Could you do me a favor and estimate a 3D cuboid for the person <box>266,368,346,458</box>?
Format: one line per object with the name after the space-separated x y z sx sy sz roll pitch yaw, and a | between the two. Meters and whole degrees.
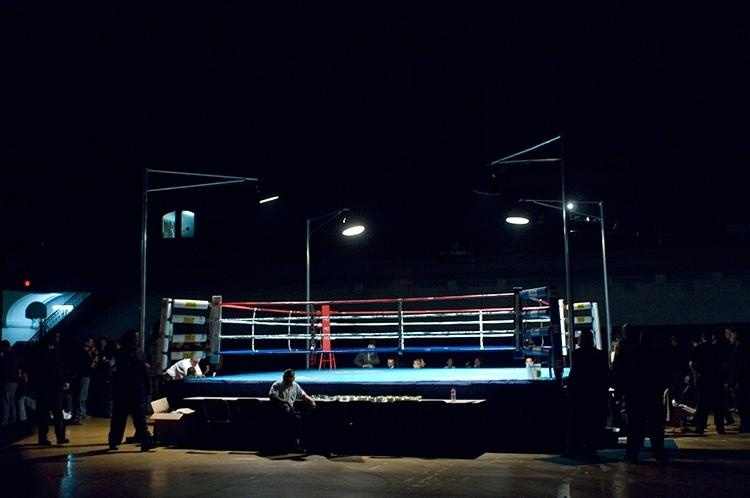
-1.893 4.039 17.779 1.646 2.052 0.753 -1 8 8 | person

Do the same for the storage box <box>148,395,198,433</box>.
-5.381 4.569 19.045 1.046 1.011 1.430 -2 -3 7 | storage box
